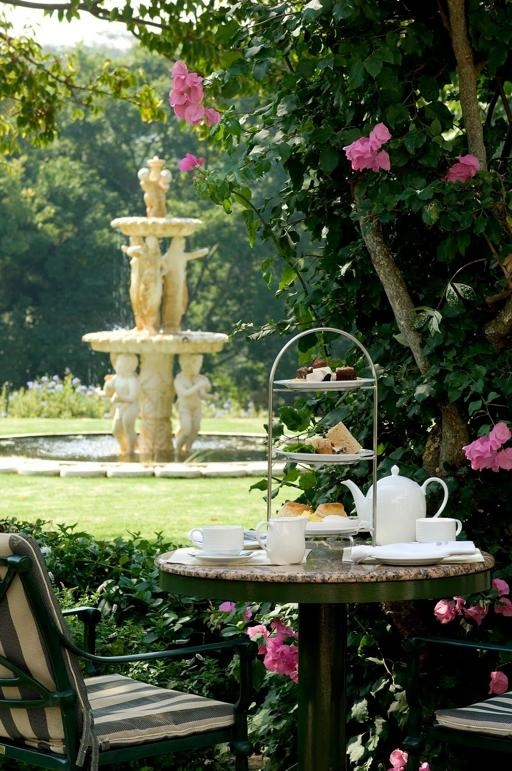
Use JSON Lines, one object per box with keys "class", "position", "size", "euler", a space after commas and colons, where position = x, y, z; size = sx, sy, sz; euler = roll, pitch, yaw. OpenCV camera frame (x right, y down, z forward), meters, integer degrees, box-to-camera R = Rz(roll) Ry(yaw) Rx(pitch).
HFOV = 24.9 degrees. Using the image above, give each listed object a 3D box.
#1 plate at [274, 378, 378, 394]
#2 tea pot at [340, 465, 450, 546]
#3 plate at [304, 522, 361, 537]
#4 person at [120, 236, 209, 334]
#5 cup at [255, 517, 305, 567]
{"class": "plate", "position": [0.165, -0.012, 2.799], "size": [0.238, 0.030, 0.252], "euler": [-1, -2, 0]}
{"class": "tea pot", "position": [0.353, 0.275, 2.943], "size": [0.364, 0.229, 0.186], "euler": [1, 4, 6]}
{"class": "plate", "position": [0.203, 0.332, 2.823], "size": [0.116, 0.042, 0.157], "euler": [-2, -2, 19]}
{"class": "person", "position": [-1.029, -1.091, 12.461], "size": [0.633, 0.996, 0.992], "euler": [-2, -1, -6]}
{"class": "cup", "position": [0.067, 0.339, 2.696], "size": [0.139, 0.098, 0.087], "euler": [-4, 2, -5]}
